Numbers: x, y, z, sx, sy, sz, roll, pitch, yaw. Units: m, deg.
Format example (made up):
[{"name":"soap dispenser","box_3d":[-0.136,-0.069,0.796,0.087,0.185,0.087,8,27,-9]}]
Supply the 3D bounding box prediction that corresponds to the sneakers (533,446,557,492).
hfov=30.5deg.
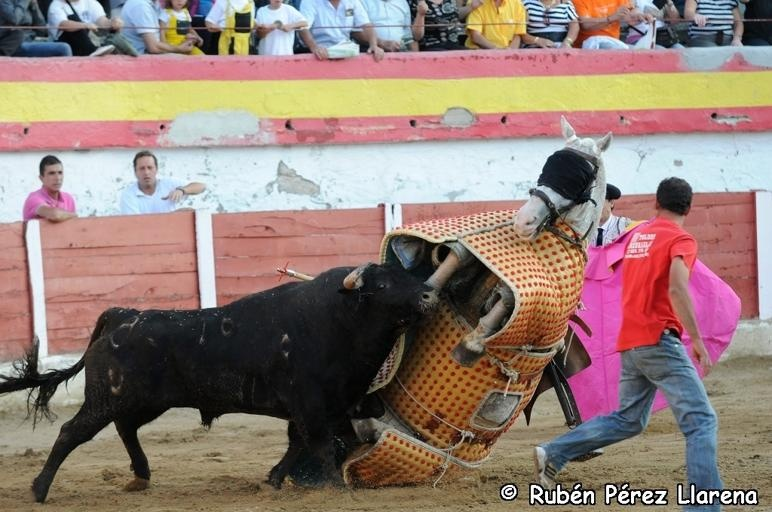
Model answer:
[{"name":"sneakers","box_3d":[1.250,1.687,11.212,0.179,0.378,0.133,-7,9,0]}]

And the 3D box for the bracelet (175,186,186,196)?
[{"name":"bracelet","box_3d":[-2.003,-0.640,13.651,0.102,0.069,0.109,-7,-23,18]}]
